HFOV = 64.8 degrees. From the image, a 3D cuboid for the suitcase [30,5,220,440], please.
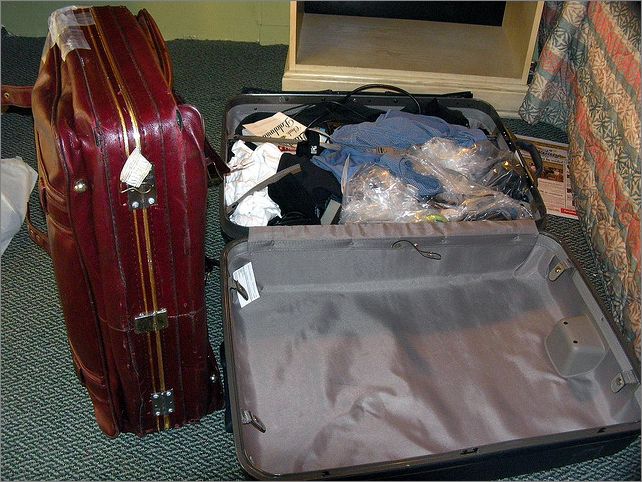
[{"bbox_3d":[-0.416,-0.001,1.131,0.361,0.751,0.515,-7,45,-11],"label":"suitcase"}]
